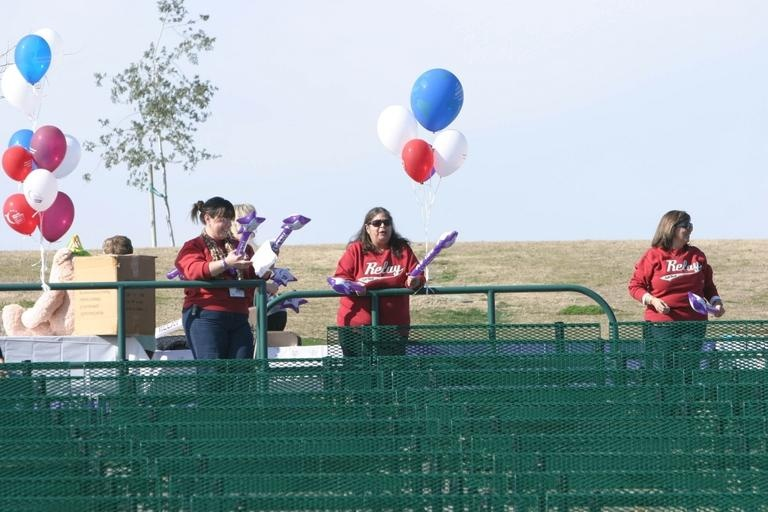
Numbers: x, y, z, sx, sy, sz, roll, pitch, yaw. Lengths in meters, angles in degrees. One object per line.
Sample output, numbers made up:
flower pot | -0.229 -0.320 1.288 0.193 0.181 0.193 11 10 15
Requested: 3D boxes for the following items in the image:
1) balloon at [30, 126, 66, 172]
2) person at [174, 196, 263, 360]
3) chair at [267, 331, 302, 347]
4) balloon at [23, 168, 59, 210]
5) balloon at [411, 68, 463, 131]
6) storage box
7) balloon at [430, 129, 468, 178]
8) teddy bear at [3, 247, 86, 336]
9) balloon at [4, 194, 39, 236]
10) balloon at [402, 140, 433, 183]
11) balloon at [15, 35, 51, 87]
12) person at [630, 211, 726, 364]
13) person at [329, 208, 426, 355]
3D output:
balloon | -4.448 -1.402 18.633 0.379 0.593 0.474 -4 -9 18
person | -1.819 0.260 15.086 0.875 1.748 0.686 -1 -9 -5
chair | -1.222 1.017 16.962 0.366 0.197 0.559 -1 -7 -6
balloon | -4.451 -0.875 18.078 0.409 0.536 0.331 1 -9 -13
balloon | 0.684 -1.989 17.851 0.635 0.779 0.339 -2 -9 2
storage box | -3.148 0.518 16.588 1.393 1.231 0.905 -1 -7 -1
balloon | 0.832 -1.318 17.632 0.424 0.566 0.716 -2 -8 1
teddy bear | -4.208 0.457 17.191 1.101 1.129 0.490 -4 -9 18
balloon | -4.596 -0.557 17.734 0.351 0.440 0.262 -34 28 1
balloon | 0.461 -1.206 17.467 0.408 0.608 0.511 0 -8 -7
balloon | -4.792 -2.703 19.120 0.490 0.728 0.364 2 -9 -21
person | 3.363 0.506 16.028 0.988 2.120 1.225 0 0 -6
person | -0.079 0.288 15.274 1.017 1.650 0.915 -2 -8 1
